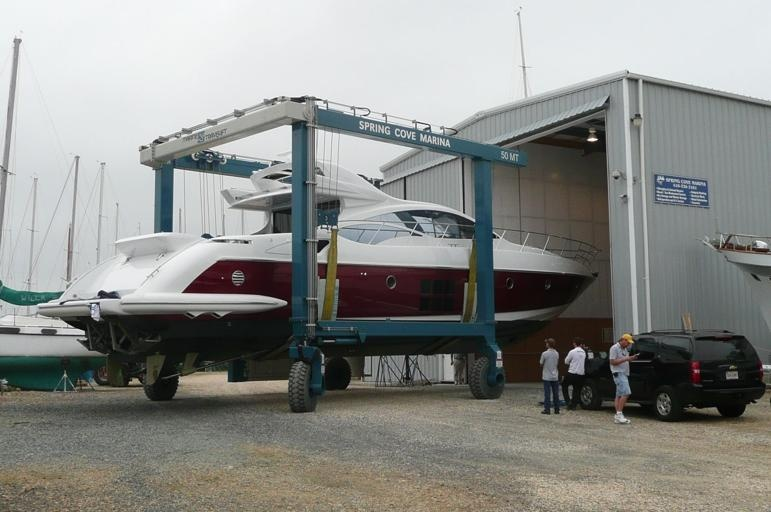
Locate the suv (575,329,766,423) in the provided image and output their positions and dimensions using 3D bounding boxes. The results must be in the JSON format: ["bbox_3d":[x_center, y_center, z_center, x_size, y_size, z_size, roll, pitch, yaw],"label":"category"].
[{"bbox_3d":[5.440,2.115,14.032,1.655,1.263,2.944,4,-5,-34],"label":"suv"}]

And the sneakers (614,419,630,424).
[{"bbox_3d":[4.279,3.012,13.197,0.264,0.120,0.102,0,0,2],"label":"sneakers"}]

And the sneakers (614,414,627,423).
[{"bbox_3d":[4.298,2.958,13.217,0.295,0.170,0.115,1,1,-18],"label":"sneakers"}]

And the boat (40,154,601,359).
[{"bbox_3d":[-1.409,0.396,17.111,11.344,3.420,4.387,0,0,-34],"label":"boat"}]

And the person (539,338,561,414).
[{"bbox_3d":[3.357,2.454,14.887,0.371,1.461,1.323,0,-7,13],"label":"person"}]

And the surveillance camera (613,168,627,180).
[{"bbox_3d":[5.711,-1.989,17.822,0.278,0.249,0.199,0,-3,1],"label":"surveillance camera"}]
